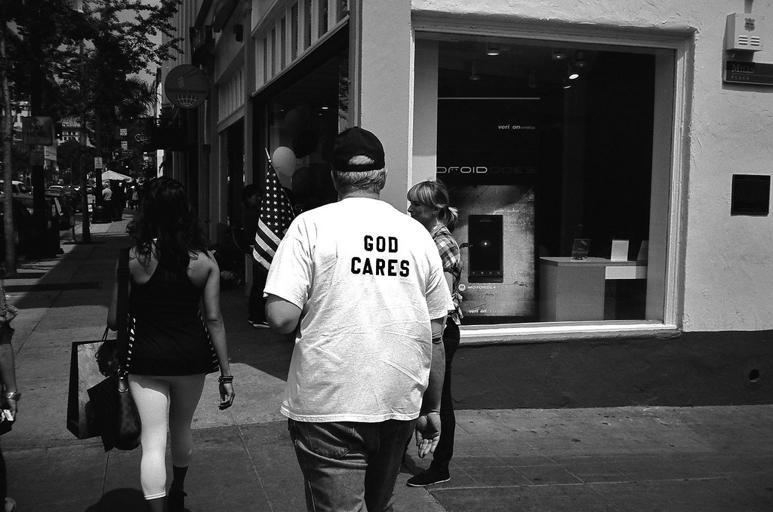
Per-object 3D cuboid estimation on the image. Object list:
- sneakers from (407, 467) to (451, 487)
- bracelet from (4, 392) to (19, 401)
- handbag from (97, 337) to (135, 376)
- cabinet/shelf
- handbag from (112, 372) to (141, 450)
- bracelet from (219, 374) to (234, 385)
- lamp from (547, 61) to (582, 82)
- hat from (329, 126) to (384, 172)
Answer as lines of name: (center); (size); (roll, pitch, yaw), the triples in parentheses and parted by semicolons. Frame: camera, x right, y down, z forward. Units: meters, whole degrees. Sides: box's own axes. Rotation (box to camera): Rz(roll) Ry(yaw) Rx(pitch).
sneakers: (0.385, 2.070, 7.399); (0.434, 0.175, 0.155); (2, -6, -9)
bracelet: (-3.042, 1.140, 6.399); (0.066, 0.061, 0.077); (3, 23, -1)
handbag: (-2.169, 0.819, 6.333); (0.318, 0.447, 0.232); (1, -1, -9)
cabinet/shelf: (2.331, 0.426, 9.858); (1.197, 0.848, 0.616); (0, 2, -12)
handbag: (-2.088, 1.210, 6.303); (0.195, 0.546, 0.533); (-2, -7, -18)
bracelet: (-1.322, 1.025, 6.552); (0.090, 0.037, 0.079); (-2, 4, -38)
lamp: (2.113, -2.187, 9.479); (0.373, 0.253, 0.299); (-4, 3, -10)
hat: (-0.228, -0.831, 5.689); (0.442, 0.239, 0.633); (-4, 16, -7)
